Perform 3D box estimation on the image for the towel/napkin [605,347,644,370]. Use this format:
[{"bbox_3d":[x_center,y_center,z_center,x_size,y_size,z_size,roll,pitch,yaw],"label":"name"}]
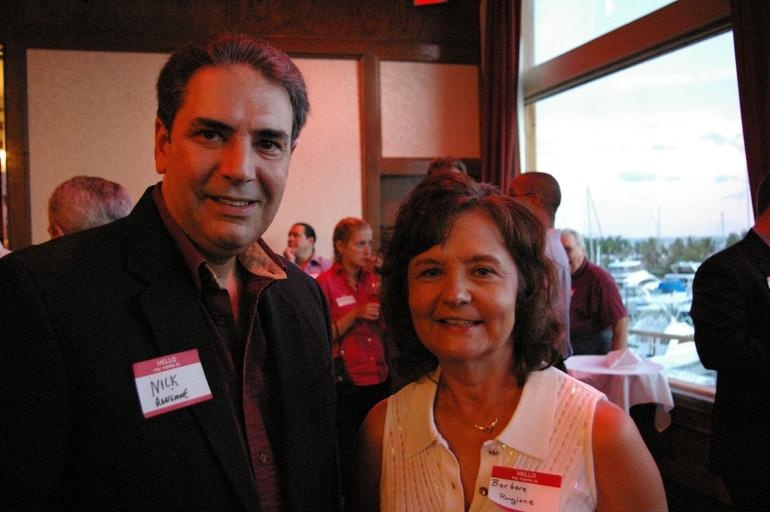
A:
[{"bbox_3d":[1.722,0.739,4.512,0.193,0.071,0.146,-1,4,14],"label":"towel/napkin"}]
